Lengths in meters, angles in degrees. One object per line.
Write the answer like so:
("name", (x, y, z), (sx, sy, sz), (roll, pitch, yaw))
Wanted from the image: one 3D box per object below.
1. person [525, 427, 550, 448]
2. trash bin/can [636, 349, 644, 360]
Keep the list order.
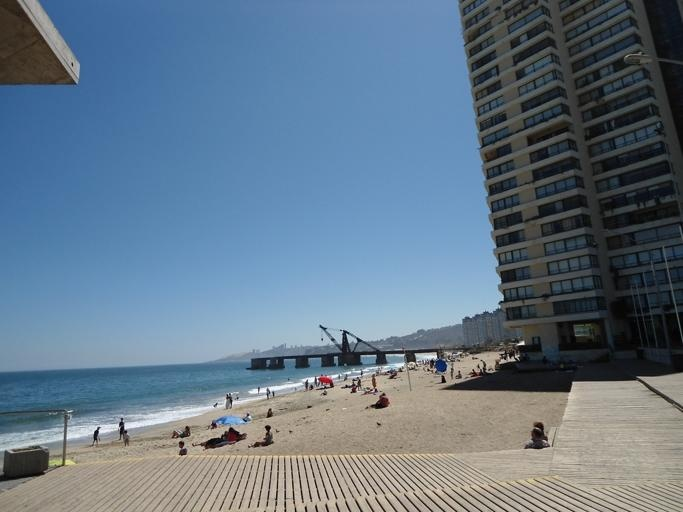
("person", (7.161, 6.607, 14.345), (0.788, 0.716, 1.388), (-11, -14, 20))
("trash bin/can", (31.661, 10.180, 41.500), (0.591, 0.938, 2.804), (-15, -16, 30))
